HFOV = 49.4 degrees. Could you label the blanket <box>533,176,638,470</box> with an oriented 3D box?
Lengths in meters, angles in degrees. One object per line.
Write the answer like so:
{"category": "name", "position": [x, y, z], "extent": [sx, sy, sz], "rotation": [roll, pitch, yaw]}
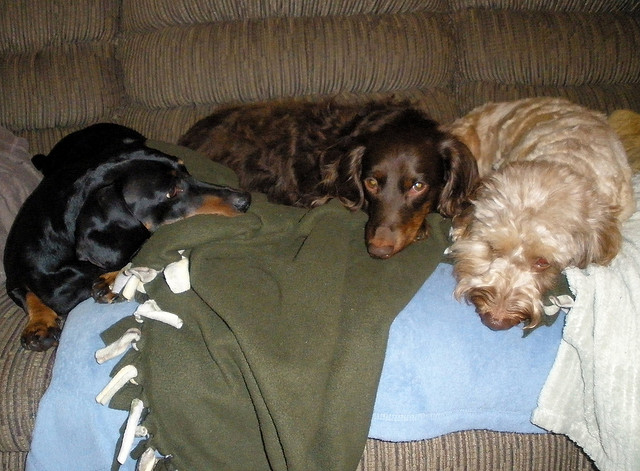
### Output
{"category": "blanket", "position": [1.642, 0.690, 4.096], "extent": [0.577, 1.203, 0.764], "rotation": [9, 18, 23]}

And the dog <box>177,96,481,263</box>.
{"category": "dog", "position": [-0.043, -0.363, 5.018], "extent": [1.774, 0.828, 1.182], "rotation": [7, 56, 4]}

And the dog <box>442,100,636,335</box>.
{"category": "dog", "position": [1.354, -0.211, 4.330], "extent": [1.018, 1.630, 0.697], "rotation": [9, -14, 18]}
